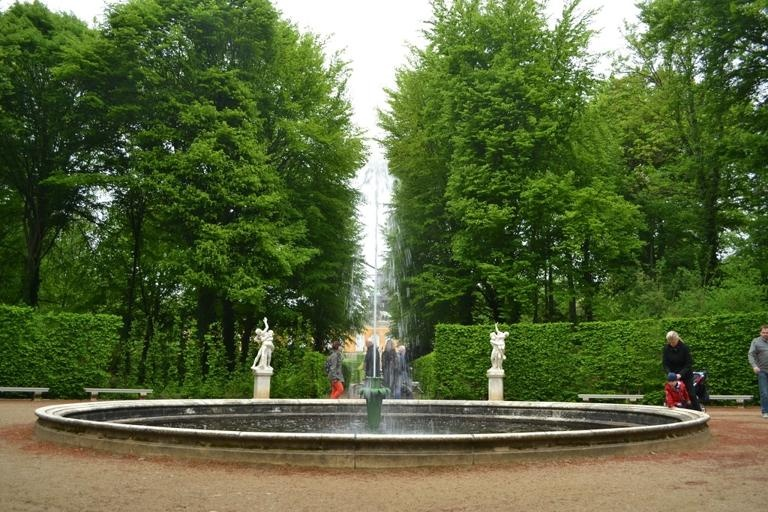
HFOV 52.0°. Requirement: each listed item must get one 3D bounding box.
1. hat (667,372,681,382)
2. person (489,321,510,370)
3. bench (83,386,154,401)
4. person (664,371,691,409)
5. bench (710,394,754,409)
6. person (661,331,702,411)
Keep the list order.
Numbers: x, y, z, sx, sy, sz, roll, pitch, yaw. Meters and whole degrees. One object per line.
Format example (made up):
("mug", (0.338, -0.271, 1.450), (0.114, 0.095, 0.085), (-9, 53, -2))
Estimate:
("hat", (8.369, 3.510, 22.627), (0.240, 0.310, 0.184), (-5, 12, 9))
("person", (4.624, 3.640, 31.298), (0.749, 1.964, 1.202), (-2, -14, 7))
("bench", (-10.640, 5.536, 31.518), (2.633, 0.477, 1.261), (0, -14, -2))
("person", (8.537, 3.997, 22.940), (0.702, 1.064, 0.640), (-16, -1, -5))
("bench", (12.391, 5.125, 27.927), (1.530, 0.421, 0.932), (-1, -14, 4))
("person", (8.693, 3.324, 22.763), (1.113, 2.254, 0.894), (1, -14, -4))
